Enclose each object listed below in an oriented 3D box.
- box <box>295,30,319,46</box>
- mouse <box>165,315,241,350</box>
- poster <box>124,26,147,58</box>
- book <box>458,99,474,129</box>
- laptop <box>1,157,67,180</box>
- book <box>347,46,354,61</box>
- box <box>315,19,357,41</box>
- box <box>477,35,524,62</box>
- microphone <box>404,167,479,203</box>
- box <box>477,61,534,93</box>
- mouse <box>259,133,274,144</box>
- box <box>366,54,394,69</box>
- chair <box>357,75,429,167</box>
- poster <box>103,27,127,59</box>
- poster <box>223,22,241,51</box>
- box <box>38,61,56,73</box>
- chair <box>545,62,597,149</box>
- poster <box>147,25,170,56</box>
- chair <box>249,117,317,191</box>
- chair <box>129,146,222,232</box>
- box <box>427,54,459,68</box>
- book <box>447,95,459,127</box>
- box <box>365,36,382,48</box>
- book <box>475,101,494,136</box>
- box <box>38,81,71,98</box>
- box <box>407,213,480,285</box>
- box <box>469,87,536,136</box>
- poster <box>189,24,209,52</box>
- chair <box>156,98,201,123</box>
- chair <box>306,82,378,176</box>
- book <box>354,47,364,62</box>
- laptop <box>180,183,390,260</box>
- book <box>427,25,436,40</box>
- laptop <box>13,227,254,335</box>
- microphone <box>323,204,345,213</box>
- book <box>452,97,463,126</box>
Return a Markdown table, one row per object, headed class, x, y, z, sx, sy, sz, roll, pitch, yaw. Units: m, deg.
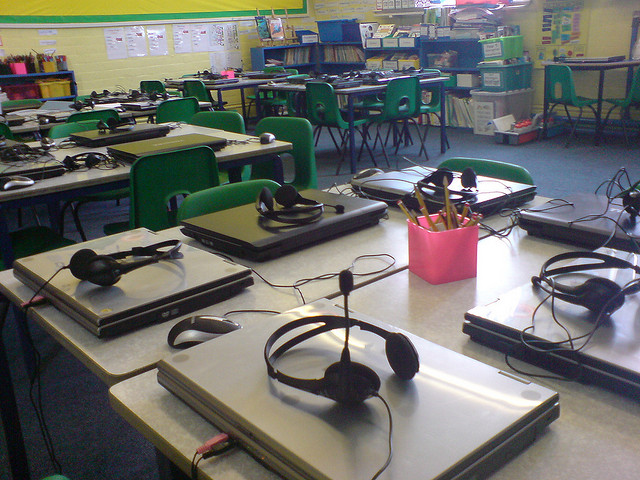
| class | x | y | z | sx | sy | sz | roll | pitch | yaw |
| --- | --- | --- | --- | --- | --- | --- | --- | --- | --- |
| box | -0.246 | -3.613 | 9.006 | 0.467 | 0.249 | 0.330 | -17 | 28 | -35 |
| mouse | -0.219 | 0.170 | 0.950 | 0.123 | 0.033 | 0.062 | -10 | 8 | -9 |
| poster | -2.813 | -3.054 | 7.737 | 0.348 | 0.446 | 0.085 | -25 | 30 | -38 |
| book | 2.023 | -1.760 | 7.029 | 0.105 | 0.340 | 0.384 | -16 | 12 | 12 |
| laptop | -1.311 | -0.332 | 2.309 | 0.246 | 0.042 | 0.203 | -9 | 18 | -26 |
| book | 0.511 | -3.228 | 8.692 | 0.043 | 0.241 | 0.122 | -13 | 25 | -12 |
| box | 0.210 | -3.662 | 8.812 | 0.539 | 0.251 | 0.608 | 5 | 22 | 18 |
| box | 2.364 | -2.456 | 6.507 | 0.610 | 0.221 | 0.415 | -12 | 15 | -32 |
| microphone | 0.375 | -0.167 | 1.496 | 0.176 | 0.047 | 0.141 | -11 | 18 | -21 |
| box | 2.403 | -2.108 | 6.550 | 0.737 | 0.287 | 0.472 | -13 | 18 | -33 |
| mouse | -0.299 | -0.569 | 2.808 | 0.086 | 0.050 | 0.053 | 13 | 14 | -8 |
| box | 0.962 | -2.897 | 8.175 | 0.369 | 0.176 | 0.358 | 13 | 21 | 41 |
| chair | 0.848 | -1.315 | 5.267 | 0.606 | 0.558 | 0.566 | -1 | 8 | 29 |
| poster | -3.062 | -2.963 | 7.577 | 0.089 | 0.436 | 0.339 | 15 | 31 | 40 |
| poster | -1.530 | -3.535 | 8.705 | 0.067 | 0.436 | 0.345 | 12 | 29 | 36 |
| box | -3.678 | -2.338 | 6.805 | 0.221 | 0.116 | 0.187 | -2 | 14 | -12 |
| chair | 2.988 | -1.666 | 6.043 | 0.602 | 0.933 | 1.370 | 4 | 23 | 24 |
| poster | -2.547 | -3.143 | 7.912 | 0.081 | 0.452 | 0.324 | 16 | 32 | 41 |
| chair | -0.192 | -0.531 | 3.050 | 0.256 | 0.417 | 0.422 | -19 | 25 | -26 |
| chair | -0.622 | -0.225 | 2.135 | 0.312 | 0.440 | 0.294 | -19 | 42 | -32 |
| box | 1.827 | -2.649 | 7.501 | 0.427 | 0.186 | 0.358 | -1 | 15 | 3 |
| book | 1.885 | -1.850 | 7.220 | 0.083 | 0.453 | 0.175 | -11 | 25 | -7 |
| box | 0.844 | -3.112 | 7.945 | 0.278 | 0.123 | 0.234 | -1 | 14 | 1 |
| book | 2.197 | -1.617 | 6.685 | 0.323 | 0.374 | 0.279 | 3 | 19 | 17 |
| box | -3.581 | -2.035 | 6.807 | 0.251 | 0.116 | 0.346 | -11 | 15 | -23 |
| box | 0.281 | 0.020 | 1.236 | 0.201 | 0.142 | 0.172 | -7 | 15 | -18 |
| box | 2.339 | -1.736 | 6.813 | 0.954 | 0.513 | 0.656 | -20 | 25 | -39 |
| poster | -1.981 | -3.348 | 8.334 | 0.065 | 0.428 | 0.339 | 12 | 29 | 36 |
| chair | -1.157 | -1.054 | 4.103 | 0.117 | 0.184 | 0.408 | 6 | 22 | 27 |
| chair | 0.224 | -1.239 | 5.397 | 0.663 | 0.926 | 1.011 | 1 | 23 | 17 |
| book | 0.658 | -3.181 | 8.595 | 0.157 | 0.220 | 0.035 | 13 | 32 | 38 |
| laptop | -0.081 | -0.095 | 1.478 | 0.519 | 0.159 | 0.308 | -19 | 25 | -37 |
| book | 1.597 | -2.992 | 7.231 | 0.107 | 0.204 | 0.131 | -2 | 24 | 11 |
| laptop | -0.401 | 0.094 | 1.134 | 0.316 | 0.041 | 0.382 | 17 | 21 | 38 |
| microphone | 0.041 | -0.096 | 1.457 | 0.024 | 0.019 | 0.079 | -19 | 24 | -31 |
| book | 1.937 | -1.836 | 7.123 | 0.055 | 0.385 | 0.305 | -26 | 33 | 5 |
